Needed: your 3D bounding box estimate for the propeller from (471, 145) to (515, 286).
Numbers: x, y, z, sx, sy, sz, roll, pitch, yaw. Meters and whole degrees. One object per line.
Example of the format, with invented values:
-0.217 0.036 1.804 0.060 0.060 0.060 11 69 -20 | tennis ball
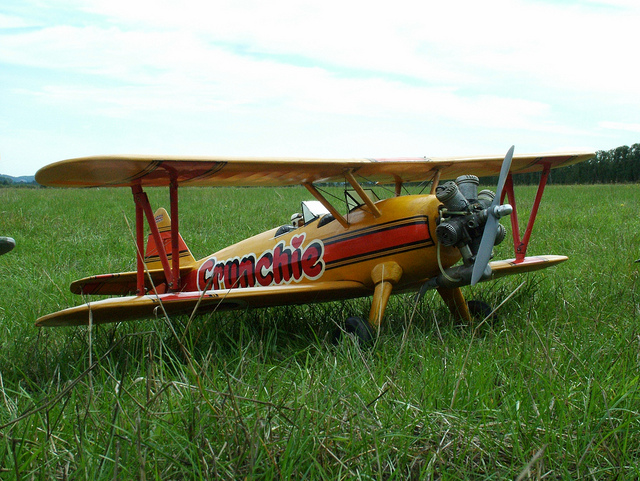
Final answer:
1.655 -0.233 5.215 0.297 1.320 0.508 5 11 19 | propeller
